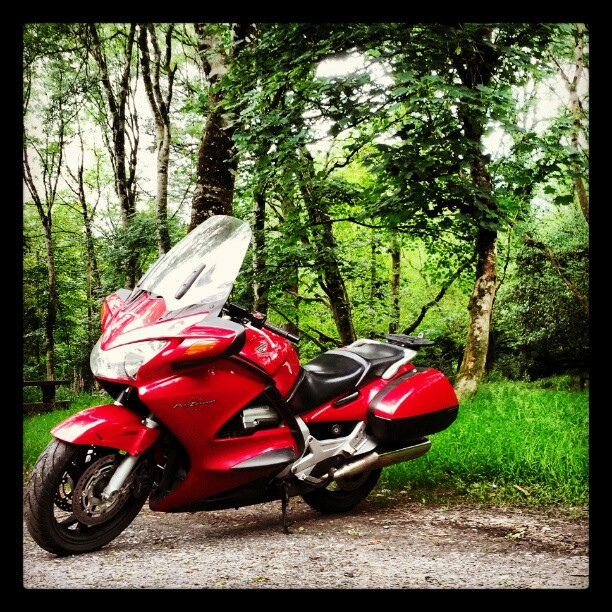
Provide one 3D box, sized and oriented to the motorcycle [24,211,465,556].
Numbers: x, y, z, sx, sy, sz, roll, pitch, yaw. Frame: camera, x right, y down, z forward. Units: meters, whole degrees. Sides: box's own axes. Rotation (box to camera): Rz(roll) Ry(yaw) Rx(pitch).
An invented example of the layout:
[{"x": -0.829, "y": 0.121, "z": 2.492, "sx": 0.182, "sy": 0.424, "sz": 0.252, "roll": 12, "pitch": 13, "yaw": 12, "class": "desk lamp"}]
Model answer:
[{"x": -0.329, "y": 0.571, "z": 4.248, "sx": 2.936, "sy": 1.604, "sz": 1.113, "roll": 4, "pitch": -7, "yaw": -41, "class": "motorcycle"}]
